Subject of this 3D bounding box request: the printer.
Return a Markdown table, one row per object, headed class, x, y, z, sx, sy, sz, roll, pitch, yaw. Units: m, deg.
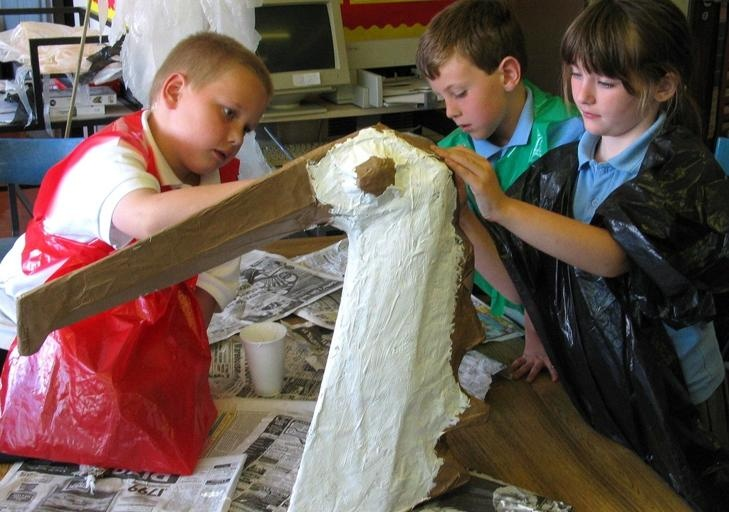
| class | x | y | z | sx | sy | sz | roll | pitch | yaw |
| --- | --- | --- | --- | --- | --- | --- | --- | --- | --- |
| printer | 0.087 | -0.934 | 2.876 | 0.335 | 0.173 | 0.495 | -6 | 25 | -10 |
